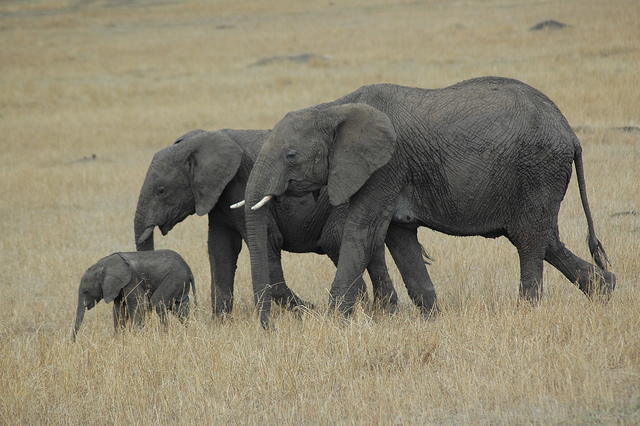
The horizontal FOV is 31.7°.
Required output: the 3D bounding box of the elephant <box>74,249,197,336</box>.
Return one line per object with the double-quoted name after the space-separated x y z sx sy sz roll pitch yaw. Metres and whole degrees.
-3.654 1.587 22.749 2.702 1.765 1.041 -6 13 -14 "elephant"
